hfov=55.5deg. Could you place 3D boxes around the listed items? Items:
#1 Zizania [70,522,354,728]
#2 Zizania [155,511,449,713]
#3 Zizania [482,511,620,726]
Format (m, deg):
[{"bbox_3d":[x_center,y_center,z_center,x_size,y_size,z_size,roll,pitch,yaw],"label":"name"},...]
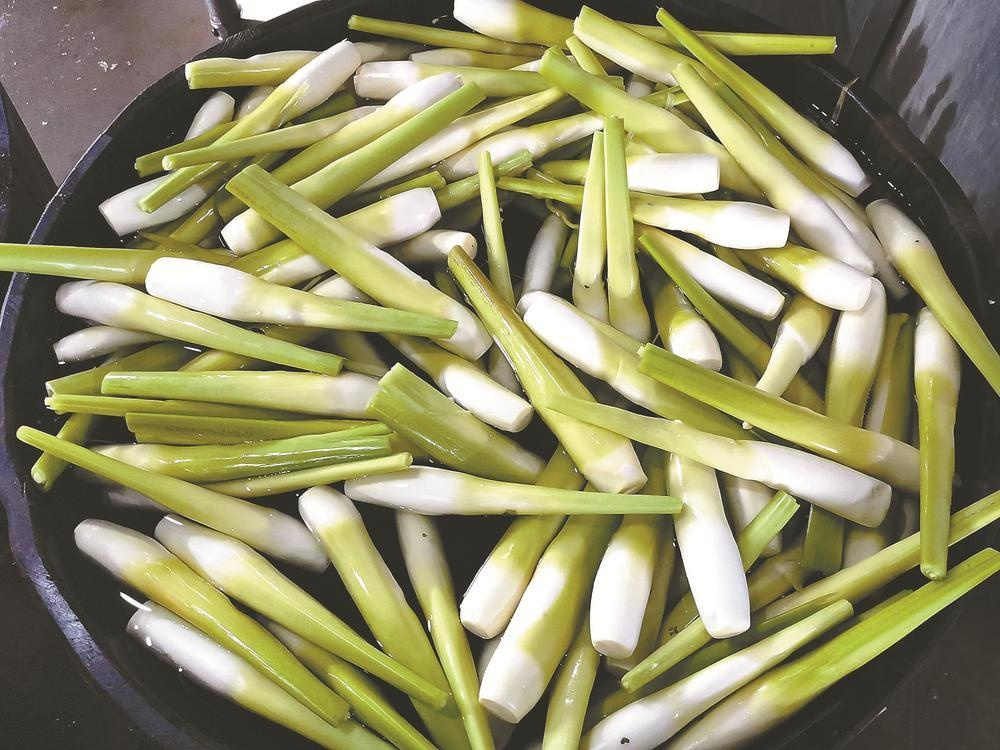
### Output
[{"bbox_3d":[-0.286,0.259,0.977,0.272,0.058,0.051,37,83,15],"label":"Zizania"},{"bbox_3d":[-0.207,0.250,0.974,0.258,0.055,0.047,36,83,15],"label":"Zizania"},{"bbox_3d":[0.063,0.226,1.007,0.071,0.069,0.262,29,62,-7],"label":"Zizania"}]
